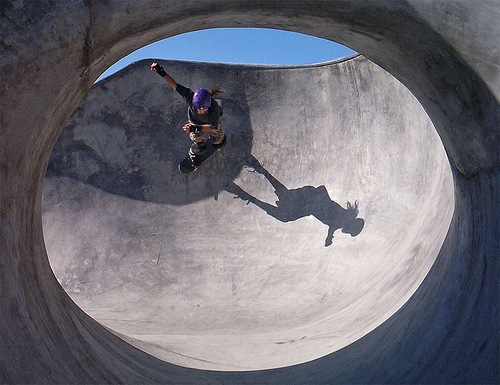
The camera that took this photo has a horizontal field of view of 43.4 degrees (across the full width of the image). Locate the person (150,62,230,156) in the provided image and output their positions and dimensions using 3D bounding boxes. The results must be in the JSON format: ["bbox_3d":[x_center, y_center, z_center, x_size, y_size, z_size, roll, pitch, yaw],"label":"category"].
[{"bbox_3d":[-1.088,-1.530,13.851,1.502,3.344,1.087,-14,67,-7],"label":"person"}]
